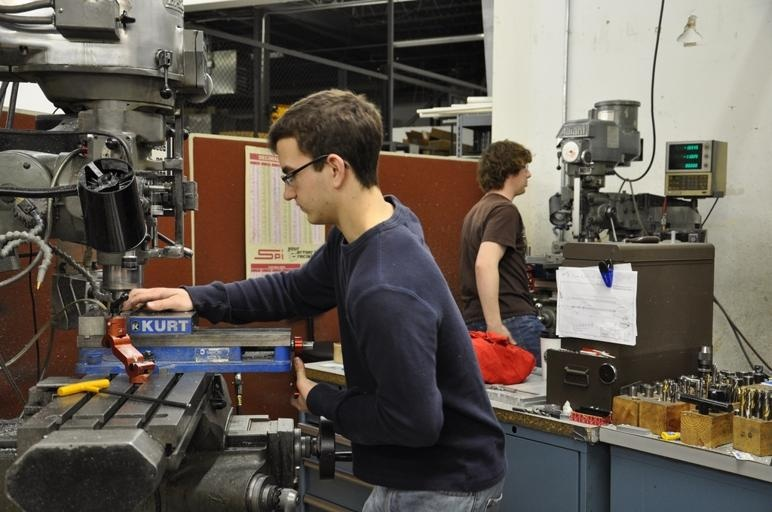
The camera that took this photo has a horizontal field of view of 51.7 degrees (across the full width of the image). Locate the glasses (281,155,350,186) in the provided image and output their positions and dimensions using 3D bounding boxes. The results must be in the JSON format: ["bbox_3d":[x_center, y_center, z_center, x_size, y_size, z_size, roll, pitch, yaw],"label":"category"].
[{"bbox_3d":[-0.264,-0.280,2.667,0.131,0.038,0.131,-29,5,2],"label":"glasses"}]
